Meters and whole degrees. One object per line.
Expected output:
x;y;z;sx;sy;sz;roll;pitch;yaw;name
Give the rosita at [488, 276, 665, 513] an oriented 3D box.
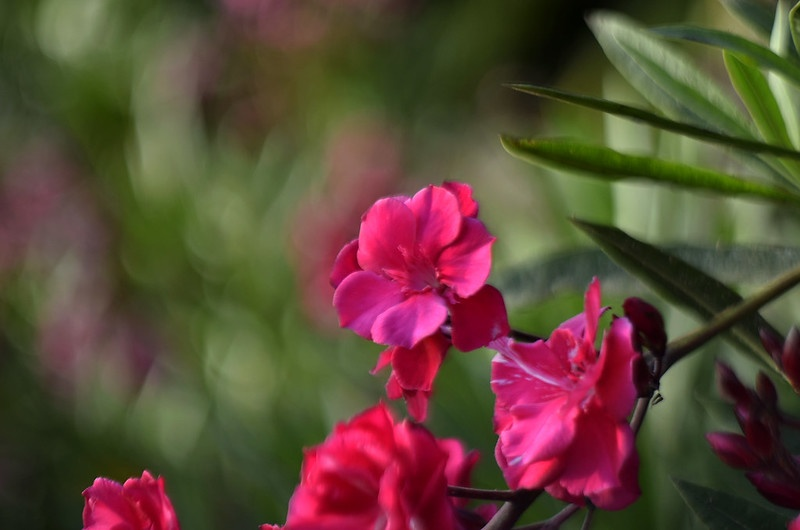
0.167;0.142;0.982;0.129;0.216;0.098;-2;-27;38;rosita
